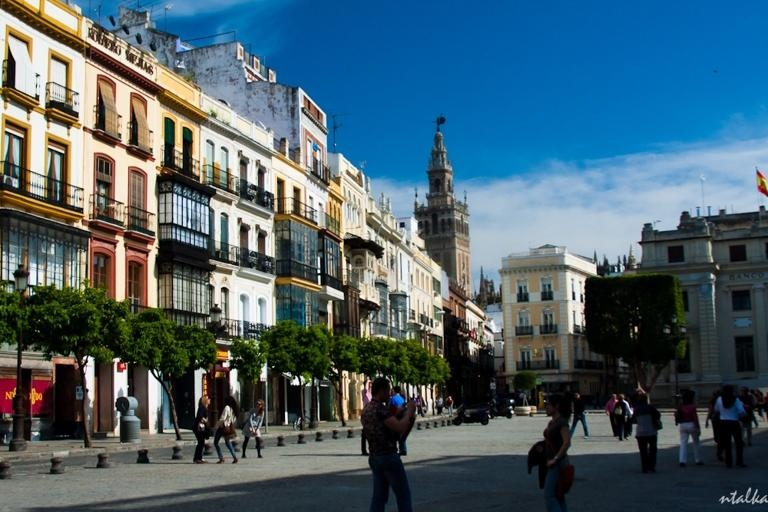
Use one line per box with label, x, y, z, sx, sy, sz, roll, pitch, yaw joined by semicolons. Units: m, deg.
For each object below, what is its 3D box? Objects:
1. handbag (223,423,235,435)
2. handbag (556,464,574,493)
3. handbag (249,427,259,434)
handbag;-5.991;6.614;46.245;0.458;0.428;0.290;7;-16;-35
handbag;5.377;6.463;34.950;0.491;0.854;0.401;-5;-13;9
handbag;-5.180;6.917;47.704;0.229;0.296;0.112;-7;-1;-16
